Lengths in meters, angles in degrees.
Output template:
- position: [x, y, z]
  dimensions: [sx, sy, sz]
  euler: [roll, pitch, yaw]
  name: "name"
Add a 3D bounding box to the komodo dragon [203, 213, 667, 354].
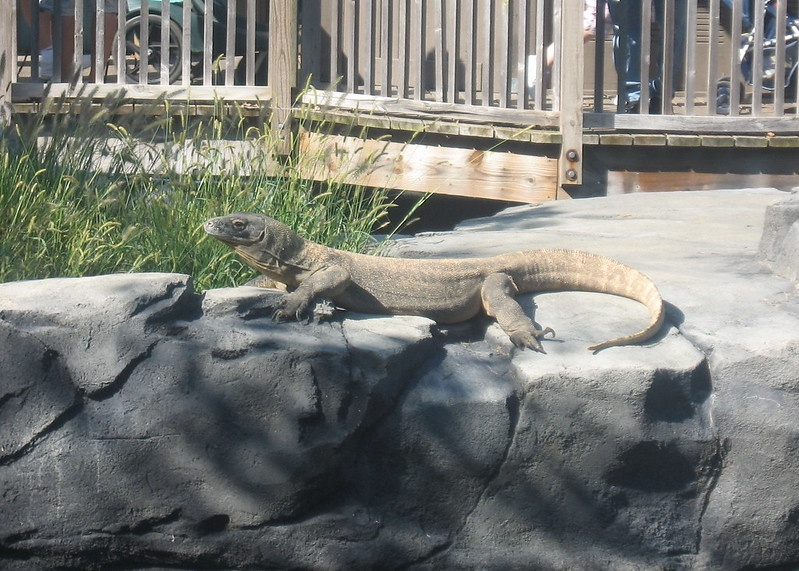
- position: [0.237, -0.044, 10.822]
  dimensions: [2.348, 0.629, 1.447]
  euler: [1, 5, -6]
  name: "komodo dragon"
